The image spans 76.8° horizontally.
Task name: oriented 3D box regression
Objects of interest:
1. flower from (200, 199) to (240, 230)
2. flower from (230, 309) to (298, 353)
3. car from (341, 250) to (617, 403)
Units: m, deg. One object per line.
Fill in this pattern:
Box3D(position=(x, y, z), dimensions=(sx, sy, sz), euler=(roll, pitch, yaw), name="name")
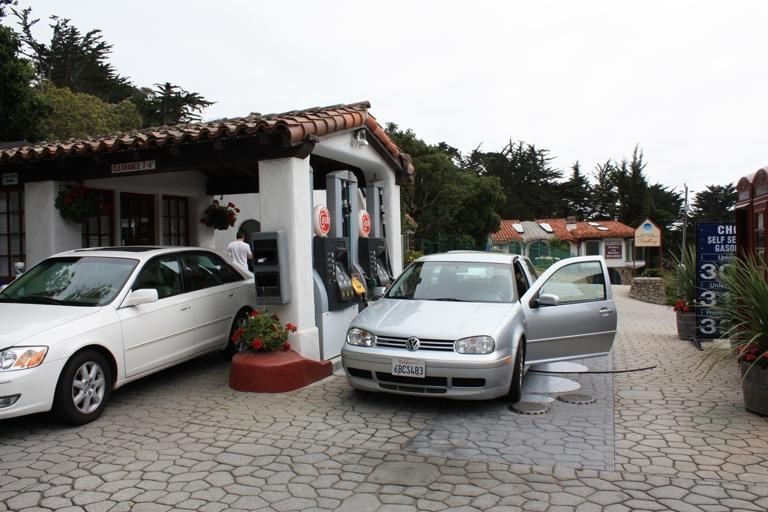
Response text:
Box3D(position=(-4.233, -1.050, 12.590), dimensions=(0.875, 0.712, 0.819), euler=(-2, 3, -2), name="flower")
Box3D(position=(-1.853, 1.144, 7.558), dimensions=(0.883, 0.583, 0.858), euler=(-1, 1, 0), name="flower")
Box3D(position=(1.580, 0.927, 6.950), dimensions=(2.279, 1.113, 3.075), euler=(-1, -2, 31), name="car")
